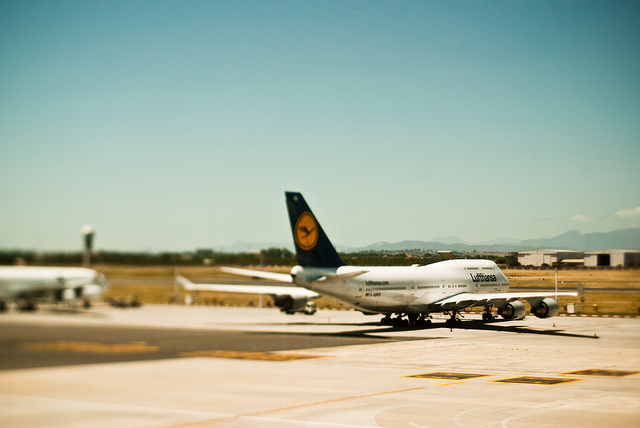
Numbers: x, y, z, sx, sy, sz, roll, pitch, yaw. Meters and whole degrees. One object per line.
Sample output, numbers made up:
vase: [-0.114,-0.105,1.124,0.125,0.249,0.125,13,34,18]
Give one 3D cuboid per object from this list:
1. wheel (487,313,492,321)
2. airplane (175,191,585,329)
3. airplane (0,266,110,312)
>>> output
wheel: [11.701,7.214,47.209,0.541,0.506,0.289,-1,-11,-17]
airplane: [4.625,3.313,44.907,20.006,8.959,8.653,-3,-7,-16]
airplane: [-17.034,4.577,43.227,2.455,2.593,10.819,-6,-7,9]
